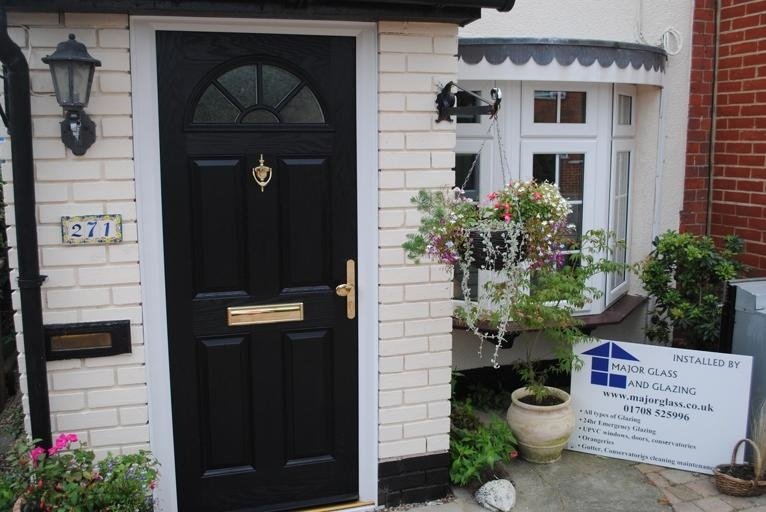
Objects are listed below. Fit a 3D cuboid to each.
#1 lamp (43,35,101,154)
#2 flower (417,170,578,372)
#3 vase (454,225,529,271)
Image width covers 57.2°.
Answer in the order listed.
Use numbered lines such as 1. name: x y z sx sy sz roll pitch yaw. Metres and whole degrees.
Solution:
1. lamp: -1.988 -1.041 4.540 0.329 0.770 0.223 -5 7 -19
2. flower: 0.814 -0.123 5.191 1.024 0.964 0.774 -4 32 7
3. vase: 0.877 -0.019 5.110 0.488 0.284 0.483 3 2 34
